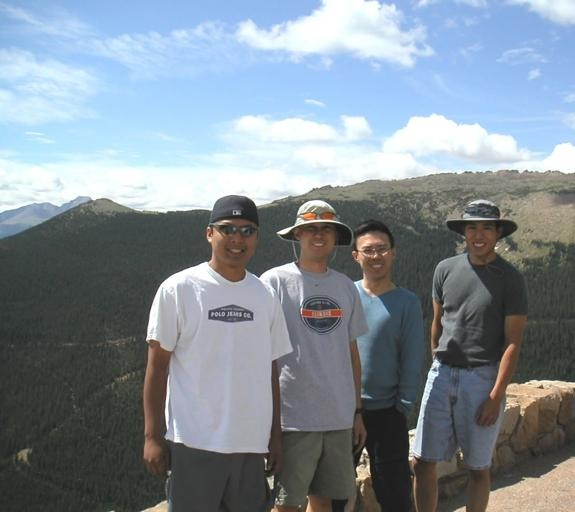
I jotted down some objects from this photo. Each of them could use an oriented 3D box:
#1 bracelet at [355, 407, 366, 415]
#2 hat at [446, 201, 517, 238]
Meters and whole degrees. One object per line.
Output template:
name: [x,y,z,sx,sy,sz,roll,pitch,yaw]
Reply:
bracelet: [0.523,1.126,4.011,0.064,0.034,0.086,-1,-10,2]
hat: [1.546,-0.284,4.412,0.384,0.189,0.408,2,-25,14]
